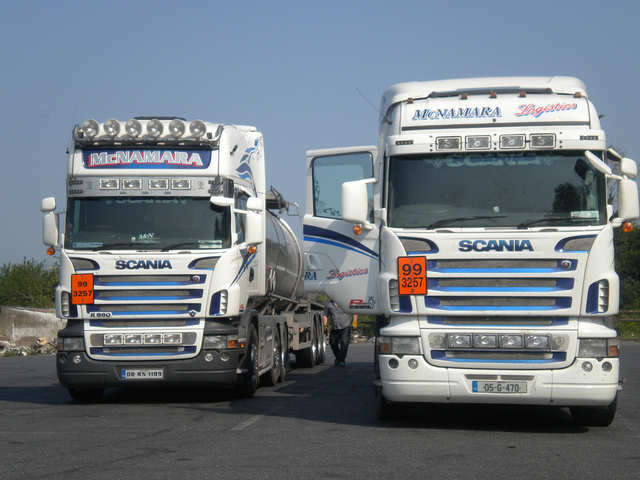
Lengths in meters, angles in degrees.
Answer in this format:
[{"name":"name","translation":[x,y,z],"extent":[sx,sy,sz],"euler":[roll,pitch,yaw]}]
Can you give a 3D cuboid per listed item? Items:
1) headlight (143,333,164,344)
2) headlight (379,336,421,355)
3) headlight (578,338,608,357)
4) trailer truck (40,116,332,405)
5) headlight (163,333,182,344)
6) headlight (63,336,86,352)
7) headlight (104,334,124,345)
[{"name":"headlight","translation":[-2.759,1.615,13.225],"extent":[0.255,0.171,0.060],"euler":[3,1,-2]},{"name":"headlight","translation":[1.110,1.444,11.024],"extent":[0.555,0.280,0.107],"euler":[3,-7,24]},{"name":"headlight","translation":[3.640,1.435,10.730],"extent":[0.410,0.293,0.226],"euler":[0,-7,6]},{"name":"trailer truck","translation":[-2.263,0.727,18.941],"extent":[3.868,4.953,11.373],"euler":[-2,-5,8]},{"name":"headlight","translation":[-2.428,1.615,13.249],"extent":[0.196,0.138,0.200],"euler":[1,1,-5]},{"name":"headlight","translation":[-4.057,1.709,13.295],"extent":[0.374,0.266,0.077],"euler":[4,-7,15]},{"name":"headlight","translation":[-3.398,1.639,13.250],"extent":[0.243,0.178,0.073],"euler":[2,3,2]}]
